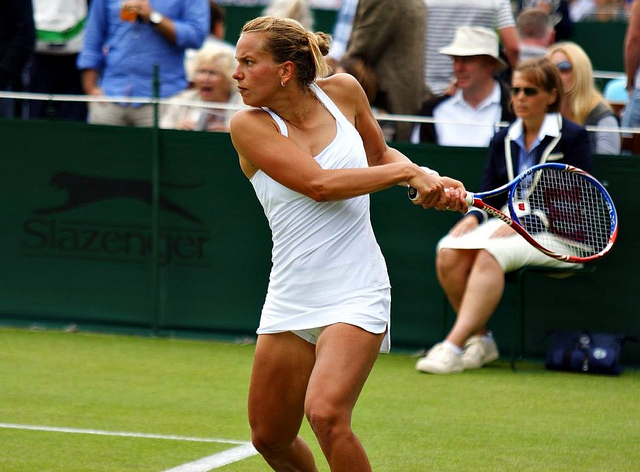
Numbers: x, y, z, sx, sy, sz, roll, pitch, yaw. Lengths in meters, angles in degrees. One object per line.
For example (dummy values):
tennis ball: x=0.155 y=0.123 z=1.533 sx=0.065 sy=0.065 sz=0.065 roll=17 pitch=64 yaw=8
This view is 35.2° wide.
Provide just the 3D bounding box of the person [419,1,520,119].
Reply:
person: x=1.300 y=-1.577 z=8.530 sx=0.380 sy=1.075 sz=0.834 roll=0 pitch=-3 yaw=-45

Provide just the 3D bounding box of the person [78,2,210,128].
person: x=-1.369 y=-1.410 z=8.100 sx=1.095 sy=0.936 sz=1.250 roll=-2 pitch=14 yaw=-13

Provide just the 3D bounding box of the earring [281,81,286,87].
earring: x=-0.179 y=-0.756 z=4.991 sx=0.029 sy=0.026 sz=0.006 roll=0 pitch=2 yaw=-7

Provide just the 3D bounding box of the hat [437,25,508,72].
hat: x=1.078 y=-1.502 z=7.832 sx=0.355 sy=0.151 sz=0.425 roll=16 pitch=-9 yaw=-13

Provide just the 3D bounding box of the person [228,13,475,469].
person: x=0.050 y=0.065 z=5.007 sx=0.952 sy=2.239 sz=1.038 roll=-1 pitch=14 yaw=-7

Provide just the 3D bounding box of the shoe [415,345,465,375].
shoe: x=0.849 y=0.868 z=7.069 sx=0.322 sy=0.134 sz=0.173 roll=6 pitch=-10 yaw=-38
